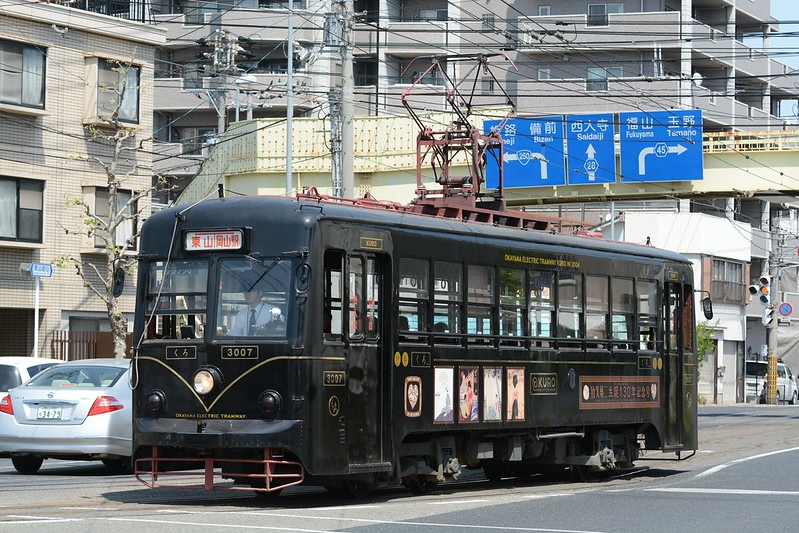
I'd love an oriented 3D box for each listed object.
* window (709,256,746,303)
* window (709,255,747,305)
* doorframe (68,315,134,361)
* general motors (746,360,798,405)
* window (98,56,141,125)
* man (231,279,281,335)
[{"bbox_3d":[14.893,0.896,68.370,0.406,2.170,3.646,-3,-6,45],"label":"window"},{"bbox_3d":[15.695,0.968,70.545,0.501,2.427,4.141,-19,-5,12],"label":"window"},{"bbox_3d":[-9.528,2.430,44.845,1.480,1.048,0.795,6,-10,-31],"label":"doorframe"},{"bbox_3d":[16.768,5.627,66.621,1.525,1.480,2.644,0,1,41],"label":"general motors"},{"bbox_3d":[-9.656,-6.057,48.450,0.094,2.242,2.332,3,4,29],"label":"window"},{"bbox_3d":[-2.833,0.894,27.711,0.882,1.046,0.594,-8,-19,21],"label":"man"}]
